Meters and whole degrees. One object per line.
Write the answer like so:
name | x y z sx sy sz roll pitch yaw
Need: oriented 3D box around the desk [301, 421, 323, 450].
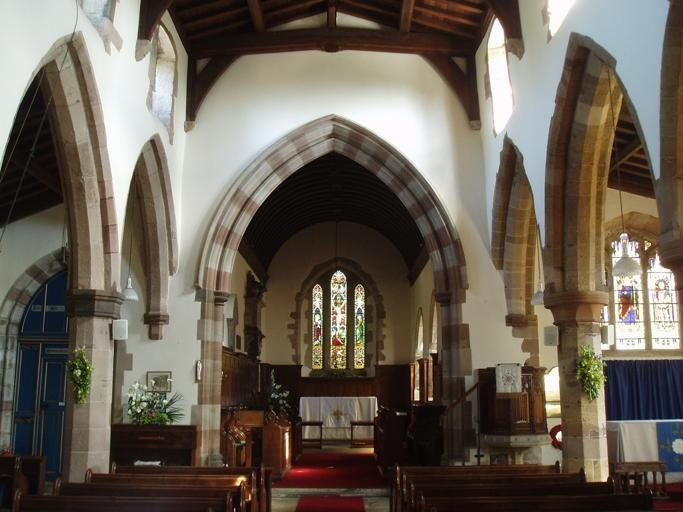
desk | -0.816 4.958 17.131 0.590 0.717 2.355 -2 -16 -3

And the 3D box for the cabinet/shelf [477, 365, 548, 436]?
cabinet/shelf | 2.906 2.468 10.643 1.046 1.078 1.152 -1 -18 6

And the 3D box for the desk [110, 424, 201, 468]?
desk | -3.144 3.127 10.151 1.001 0.980 0.394 1 -25 -3

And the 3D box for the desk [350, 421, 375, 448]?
desk | 0.541 4.946 17.075 0.815 0.886 0.637 0 -23 0

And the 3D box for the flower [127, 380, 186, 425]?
flower | -3.310 2.686 10.911 0.766 0.619 0.714 5 -7 -9

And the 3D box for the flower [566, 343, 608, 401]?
flower | 3.348 1.598 8.439 0.313 0.681 0.452 -15 -25 43

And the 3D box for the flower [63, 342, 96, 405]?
flower | -3.466 1.570 8.132 0.321 0.752 0.190 4 -15 -22
